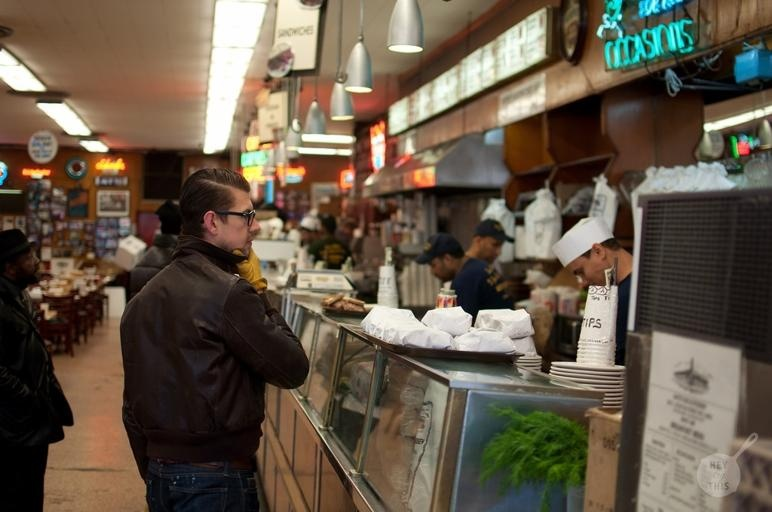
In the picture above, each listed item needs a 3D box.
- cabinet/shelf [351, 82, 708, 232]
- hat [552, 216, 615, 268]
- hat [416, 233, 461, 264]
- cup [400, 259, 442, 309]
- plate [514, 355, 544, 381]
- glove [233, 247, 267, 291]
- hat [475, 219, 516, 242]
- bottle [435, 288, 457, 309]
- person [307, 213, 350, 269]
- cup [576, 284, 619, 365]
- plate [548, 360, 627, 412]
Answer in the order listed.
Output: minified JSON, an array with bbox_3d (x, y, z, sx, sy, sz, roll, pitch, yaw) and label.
[{"bbox_3d":[1.898,-0.848,5.826,0.895,0.982,2.080,0,1,-27],"label":"cabinet/shelf"},{"bbox_3d":[0.999,-0.084,3.190,0.294,0.152,0.226,-34,5,9],"label":"hat"},{"bbox_3d":[0.412,-0.063,4.791,0.318,0.184,0.206,-3,3,-3],"label":"hat"},{"bbox_3d":[0.396,0.342,7.039,0.562,0.545,0.308,4,-8,-18],"label":"cup"},{"bbox_3d":[0.629,0.476,2.656,0.124,0.085,0.124,0,-3,3],"label":"plate"},{"bbox_3d":[-0.626,0.066,2.849,0.078,0.195,0.151,-34,-3,-14],"label":"glove"},{"bbox_3d":[0.873,-0.207,4.919,0.244,0.127,0.162,4,2,-8],"label":"hat"},{"bbox_3d":[0.300,0.220,3.126,0.098,0.110,0.099,-1,-5,28],"label":"bottle"},{"bbox_3d":[-0.809,-0.211,8.687,0.545,0.777,0.909,1,1,2],"label":"person"},{"bbox_3d":[0.876,0.287,2.522,0.145,0.238,0.091,1,1,16],"label":"cup"},{"bbox_3d":[0.822,0.489,2.457,0.242,0.115,0.241,4,-1,-30],"label":"plate"}]
